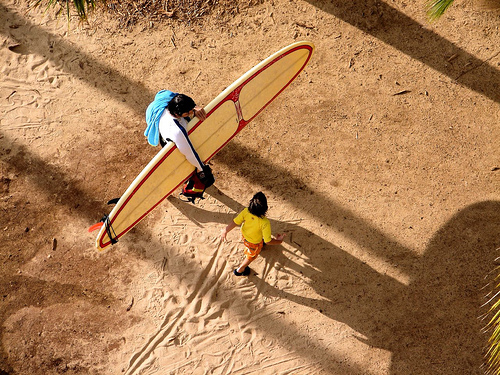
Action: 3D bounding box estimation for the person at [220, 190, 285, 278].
[{"bbox_3d":[0.028,0.853,12.395,1.016,0.597,1.964,-16,-35,-18],"label":"person"}]

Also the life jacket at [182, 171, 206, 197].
[{"bbox_3d":[-0.990,0.010,12.661,0.282,0.426,0.433,19,24,-1],"label":"life jacket"}]

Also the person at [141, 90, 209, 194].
[{"bbox_3d":[-1.271,-0.685,12.292,0.759,1.079,1.611,-6,-4,-4],"label":"person"}]
